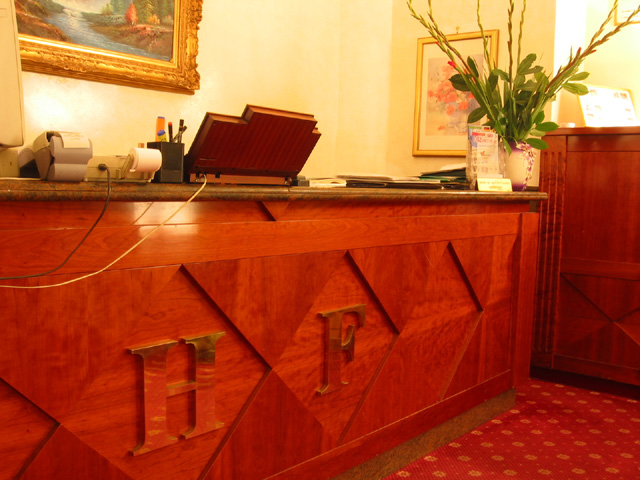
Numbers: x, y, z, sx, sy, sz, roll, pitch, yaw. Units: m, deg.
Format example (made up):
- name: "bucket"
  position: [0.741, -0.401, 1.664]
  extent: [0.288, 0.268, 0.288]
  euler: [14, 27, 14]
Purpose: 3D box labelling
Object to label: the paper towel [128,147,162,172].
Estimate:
- name: "paper towel"
  position: [-0.494, -0.229, 1.342]
  extent: [0.082, 0.064, 0.044]
  euler: [0, 5, -22]
